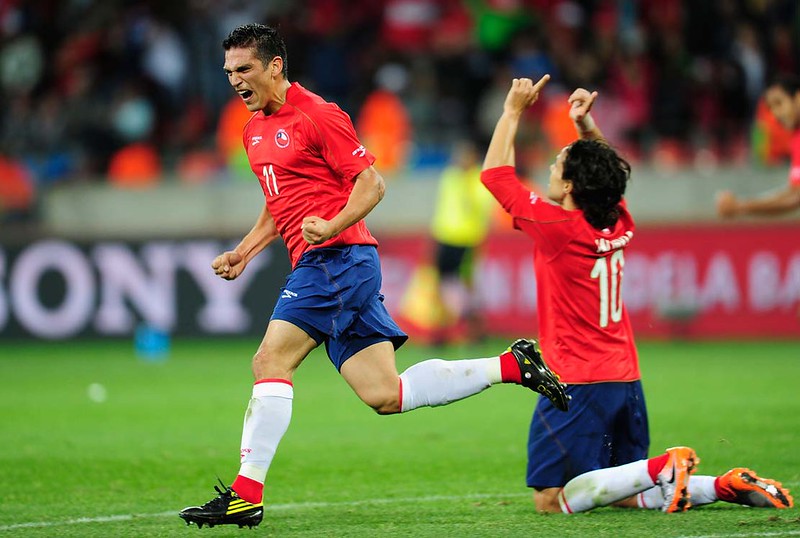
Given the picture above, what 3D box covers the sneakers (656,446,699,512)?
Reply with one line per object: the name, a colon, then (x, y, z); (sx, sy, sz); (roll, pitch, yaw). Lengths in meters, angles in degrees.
sneakers: (2.037, 1.554, 7.381); (0.272, 0.626, 0.220); (3, 20, 8)
